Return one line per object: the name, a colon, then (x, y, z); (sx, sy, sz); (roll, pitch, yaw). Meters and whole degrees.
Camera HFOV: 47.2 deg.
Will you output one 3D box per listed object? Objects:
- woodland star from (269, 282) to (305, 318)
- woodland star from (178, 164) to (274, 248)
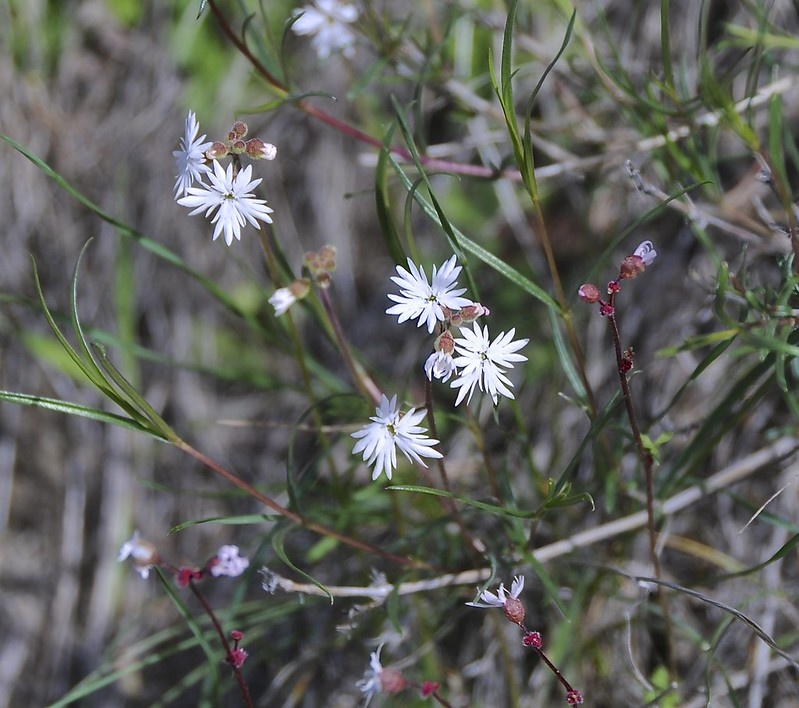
woodland star: (-0.297, -0.148, 2.466); (0.113, 0.047, 0.073); (-42, 109, -22)
woodland star: (-0.453, -0.423, 2.411); (0.172, 0.188, 0.076); (10, 84, 16)
